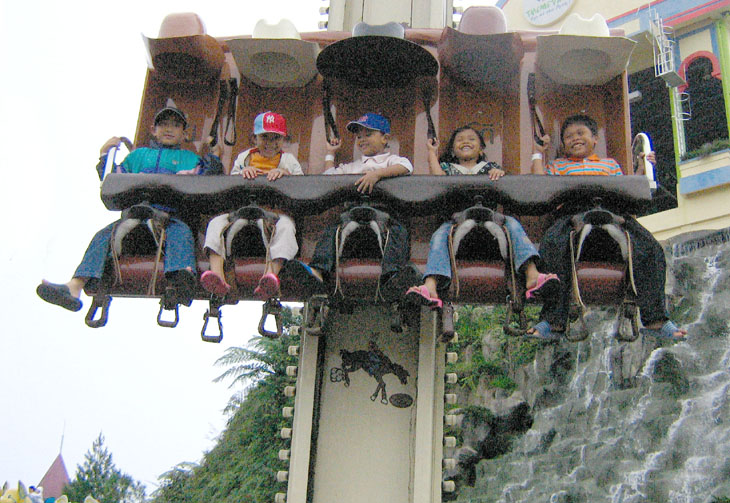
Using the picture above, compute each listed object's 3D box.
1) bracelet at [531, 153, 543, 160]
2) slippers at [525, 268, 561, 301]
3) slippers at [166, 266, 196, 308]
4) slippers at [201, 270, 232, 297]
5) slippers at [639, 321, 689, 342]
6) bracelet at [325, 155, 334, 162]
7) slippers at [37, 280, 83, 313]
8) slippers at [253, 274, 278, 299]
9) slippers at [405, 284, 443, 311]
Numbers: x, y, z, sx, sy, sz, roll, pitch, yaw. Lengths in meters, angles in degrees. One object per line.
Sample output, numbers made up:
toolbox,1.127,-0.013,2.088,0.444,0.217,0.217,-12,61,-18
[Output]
bracelet,2.782,-1.517,14.520,0.128,0.090,0.127,2,-2,-22
slippers,2.572,0.492,13.149,0.391,0.338,0.722,3,-25,-9
slippers,-2.802,0.558,13.613,0.449,0.522,0.355,3,-24,-10
slippers,-2.226,0.494,13.305,0.479,0.270,0.210,45,-5,-24
slippers,4.427,1.199,13.408,0.333,0.296,0.902,-1,-7,-33
bracelet,-0.591,-1.537,14.761,0.115,0.076,0.120,1,0,18
slippers,-4.522,0.677,13.293,0.639,0.511,0.493,9,-26,-22
slippers,-1.436,0.511,13.310,0.376,0.372,0.587,1,-25,-6
slippers,0.876,0.668,13.065,0.533,0.265,0.177,24,-8,-18
